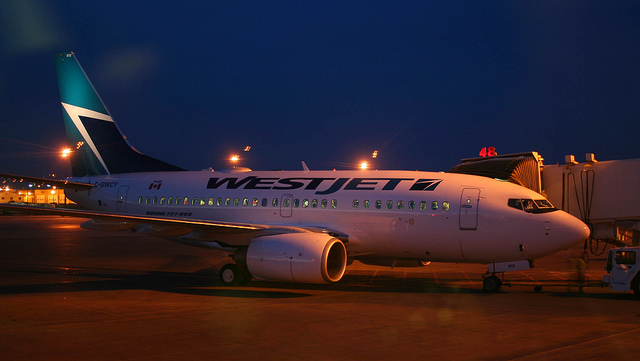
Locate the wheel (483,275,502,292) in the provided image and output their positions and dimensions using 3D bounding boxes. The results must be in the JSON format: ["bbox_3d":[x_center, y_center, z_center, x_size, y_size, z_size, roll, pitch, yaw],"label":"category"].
[{"bbox_3d":[7.843,4.702,24.589,0.774,0.604,0.394,22,2,36],"label":"wheel"}]
